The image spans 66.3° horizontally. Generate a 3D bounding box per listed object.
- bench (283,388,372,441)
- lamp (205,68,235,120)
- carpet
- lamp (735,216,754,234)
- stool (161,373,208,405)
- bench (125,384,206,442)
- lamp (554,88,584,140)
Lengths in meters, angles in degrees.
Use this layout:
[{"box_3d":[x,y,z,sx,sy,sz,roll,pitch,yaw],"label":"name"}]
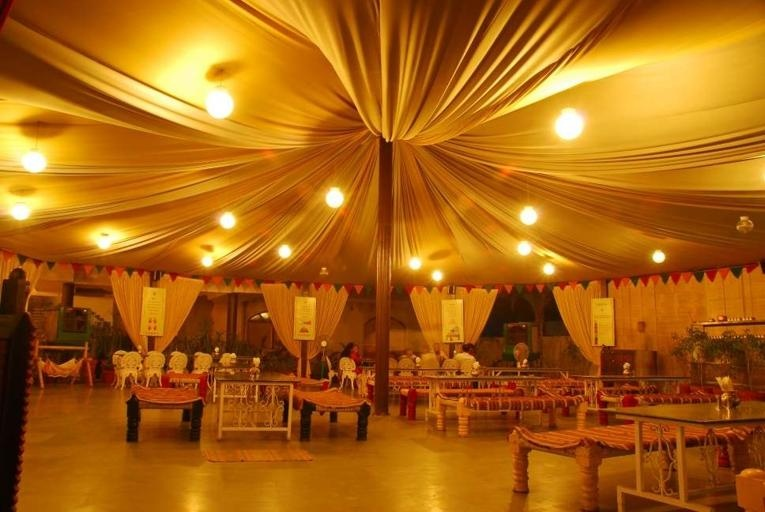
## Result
[{"box_3d":[-0.823,2.378,8.847,1.111,0.686,1.341,4,-12,-9],"label":"bench"},{"box_3d":[-2.045,-1.987,7.332,0.346,0.602,0.599,5,-11,-14],"label":"lamp"},{"box_3d":[-1.692,2.522,7.704,1.338,0.182,1.744,6,-12,-17],"label":"carpet"},{"box_3d":[5.543,-0.491,8.901,0.249,0.314,0.273,1,4,27],"label":"lamp"},{"box_3d":[-3.256,2.166,9.571,0.795,0.514,0.789,11,-15,-36],"label":"stool"},{"box_3d":[-3.138,2.254,8.399,0.977,0.663,1.467,7,-12,-20],"label":"bench"},{"box_3d":[2.520,-1.739,7.554,0.470,0.673,0.492,3,-10,8],"label":"lamp"}]
